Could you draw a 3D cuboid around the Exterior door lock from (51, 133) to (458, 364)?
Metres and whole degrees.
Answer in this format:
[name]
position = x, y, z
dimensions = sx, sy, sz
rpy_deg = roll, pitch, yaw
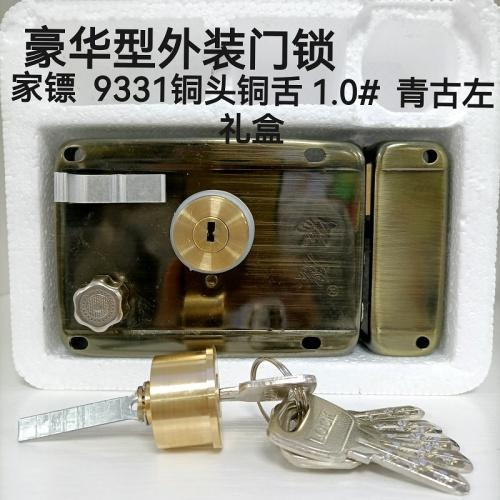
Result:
[Exterior door lock]
position = 0.006, -0.004, 0.765
dimensions = 0.471, 0.105, 0.269
rpy_deg = -1, 84, 4

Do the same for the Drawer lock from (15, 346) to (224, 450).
[Drawer lock]
position = -0.146, 0.166, 0.682
dimensions = 0.247, 0.116, 0.101
rpy_deg = -4, 96, 5
